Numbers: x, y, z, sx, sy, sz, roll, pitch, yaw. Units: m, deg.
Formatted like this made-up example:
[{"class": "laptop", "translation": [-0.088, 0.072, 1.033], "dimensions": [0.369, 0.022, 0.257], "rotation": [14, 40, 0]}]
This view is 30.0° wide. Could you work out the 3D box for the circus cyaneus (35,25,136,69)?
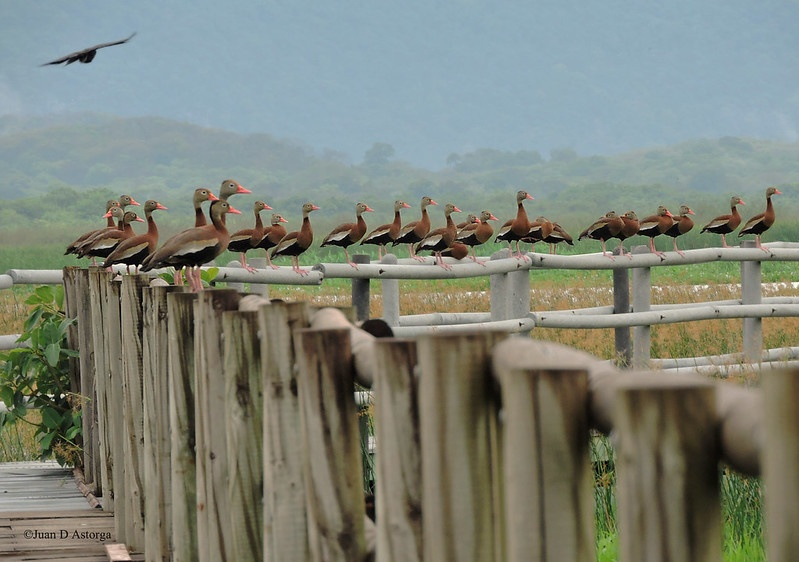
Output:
[{"class": "circus cyaneus", "translation": [-46.858, -35.162, 230.595], "dimensions": [11.908, 8.476, 10.222], "rotation": [4, 8, 24]}]
